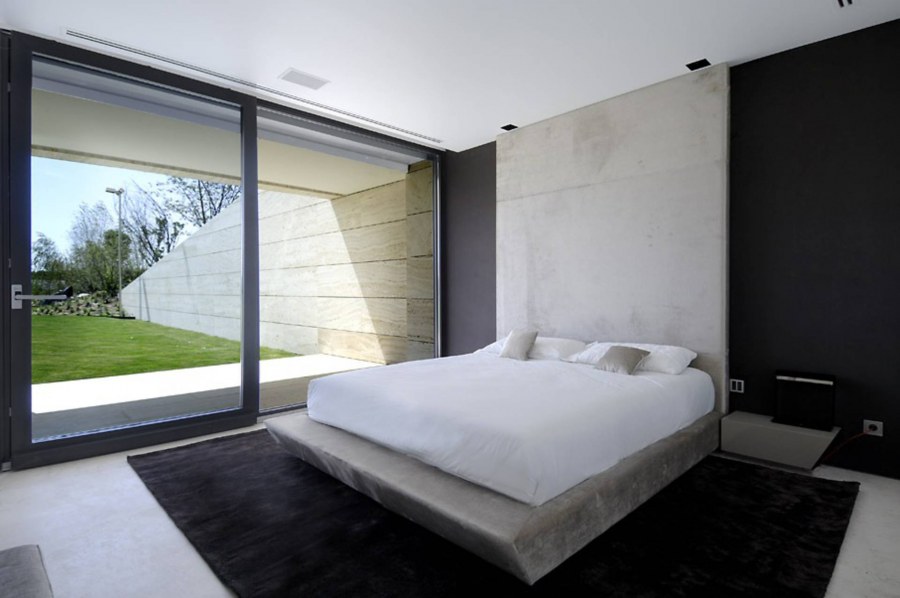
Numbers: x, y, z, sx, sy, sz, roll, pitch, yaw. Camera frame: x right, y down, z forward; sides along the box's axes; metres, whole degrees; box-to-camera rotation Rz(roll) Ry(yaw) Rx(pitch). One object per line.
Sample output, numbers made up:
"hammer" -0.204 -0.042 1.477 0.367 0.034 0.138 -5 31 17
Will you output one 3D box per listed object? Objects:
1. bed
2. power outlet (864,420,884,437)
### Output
"bed" 0.788 1.045 4.001 1.823 0.469 2.141 1 3 41
"power outlet" 3.654 1.102 4.477 0.079 0.144 0.145 4 -7 -38
